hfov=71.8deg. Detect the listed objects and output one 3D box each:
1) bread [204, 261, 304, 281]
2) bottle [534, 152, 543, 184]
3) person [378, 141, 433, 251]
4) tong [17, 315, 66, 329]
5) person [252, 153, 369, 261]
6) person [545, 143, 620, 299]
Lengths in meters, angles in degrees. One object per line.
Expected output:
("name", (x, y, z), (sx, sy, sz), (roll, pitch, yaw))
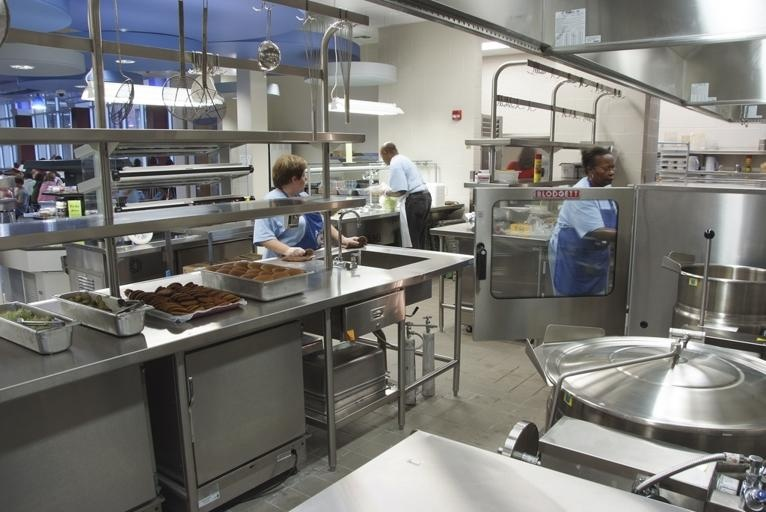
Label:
("bread", (-0.735, 0.081, 3.001), (0.379, 0.041, 0.205), (4, 6, 37))
("bottle", (1.501, -0.860, 5.129), (0.058, 0.287, 0.360), (2, 11, 19))
("person", (0.355, -0.762, 6.909), (0.659, 1.423, 0.542), (-4, 11, -14))
("tong", (-1.483, 0.291, 2.322), (0.159, 0.036, 0.088), (3, 5, 12))
("person", (-0.579, -0.247, 4.027), (0.787, 1.014, 0.663), (-13, 21, -40))
("person", (1.561, -0.274, 4.025), (0.448, 1.106, 0.599), (5, 13, 31))
